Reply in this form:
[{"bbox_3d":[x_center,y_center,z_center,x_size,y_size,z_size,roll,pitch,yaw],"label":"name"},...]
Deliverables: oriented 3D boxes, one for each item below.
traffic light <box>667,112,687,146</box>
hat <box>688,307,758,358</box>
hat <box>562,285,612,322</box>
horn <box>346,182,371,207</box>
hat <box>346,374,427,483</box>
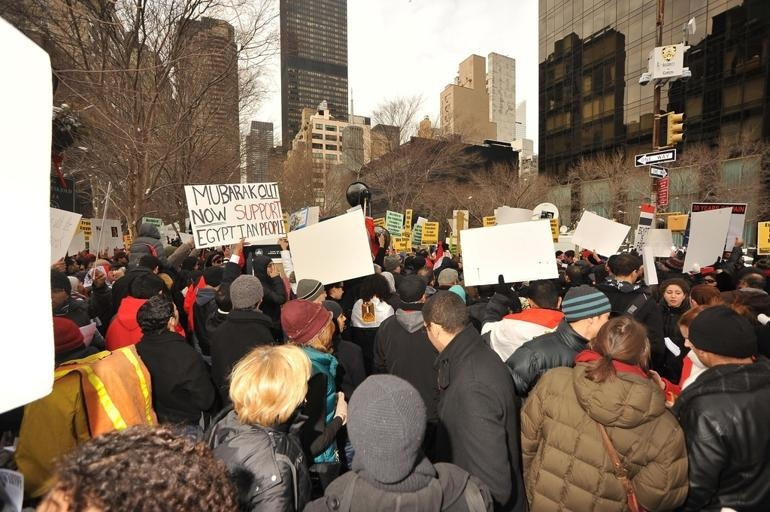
[{"bbox_3d":[7.328,-3.217,13.082,0.372,0.920,1.354,0,5,28],"label":"traffic light"},{"bbox_3d":[2.949,0.670,4.494,0.371,0.370,0.510,-12,23,-13],"label":"hat"},{"bbox_3d":[1.872,0.444,4.993,0.349,0.274,0.337,8,-30,-32],"label":"hat"},{"bbox_3d":[-0.514,-1.184,9.891,0.411,0.504,1.112,-3,5,-6],"label":"horn"},{"bbox_3d":[-0.007,1.234,3.831,0.541,0.744,0.731,-7,16,-16],"label":"hat"}]
